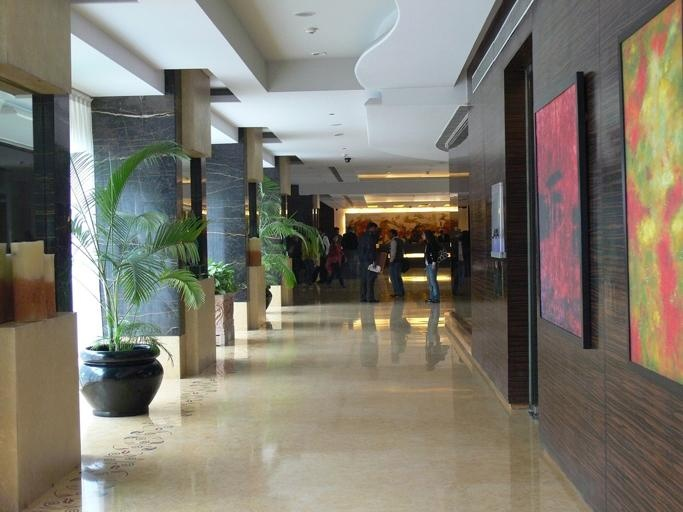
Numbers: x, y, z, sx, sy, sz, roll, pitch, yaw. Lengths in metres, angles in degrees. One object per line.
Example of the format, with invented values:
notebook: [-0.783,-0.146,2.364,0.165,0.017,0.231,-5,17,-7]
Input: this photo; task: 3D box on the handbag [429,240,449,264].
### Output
handbag: [2.247,-0.109,11.602,0.295,0.544,1.077,0,3,21]

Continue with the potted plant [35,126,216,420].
potted plant: [-2.062,0.121,5.117,1.276,2.741,1.729,-2,2,-29]
